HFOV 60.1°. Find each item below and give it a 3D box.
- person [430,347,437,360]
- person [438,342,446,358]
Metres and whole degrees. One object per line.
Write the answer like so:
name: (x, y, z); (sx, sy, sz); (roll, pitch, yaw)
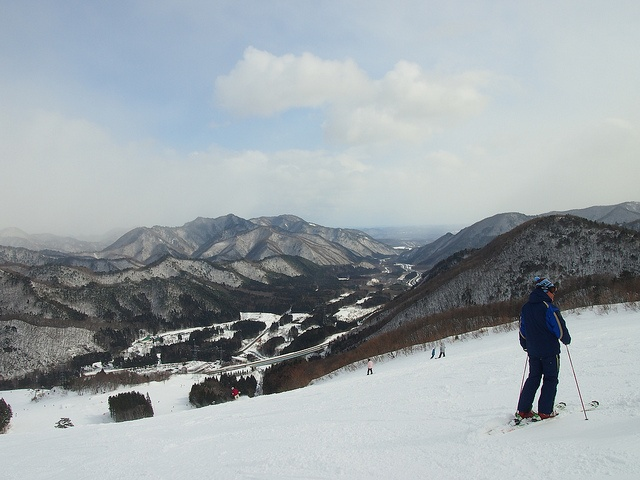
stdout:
person: (12.413, 12.475, 60.590); (0.531, 1.728, 0.847); (-1, 8, -4)
person: (13.212, 11.998, 59.860); (1.424, 1.601, 0.469); (0, 4, -44)
